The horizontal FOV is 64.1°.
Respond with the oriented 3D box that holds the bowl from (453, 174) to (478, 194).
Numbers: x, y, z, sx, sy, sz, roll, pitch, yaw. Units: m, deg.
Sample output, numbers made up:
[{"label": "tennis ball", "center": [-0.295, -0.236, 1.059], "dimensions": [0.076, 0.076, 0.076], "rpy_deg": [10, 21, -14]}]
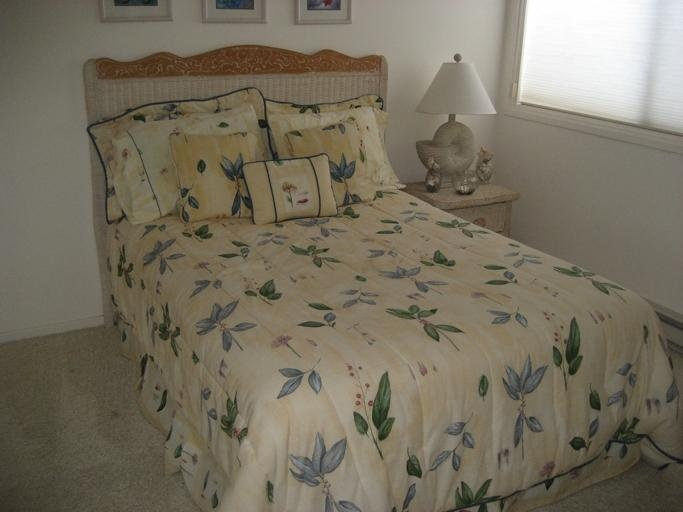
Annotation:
[{"label": "bowl", "center": [0.811, -0.468, 3.526], "dimensions": [0.109, 0.099, 0.125], "rpy_deg": [-3, 11, -9]}]
